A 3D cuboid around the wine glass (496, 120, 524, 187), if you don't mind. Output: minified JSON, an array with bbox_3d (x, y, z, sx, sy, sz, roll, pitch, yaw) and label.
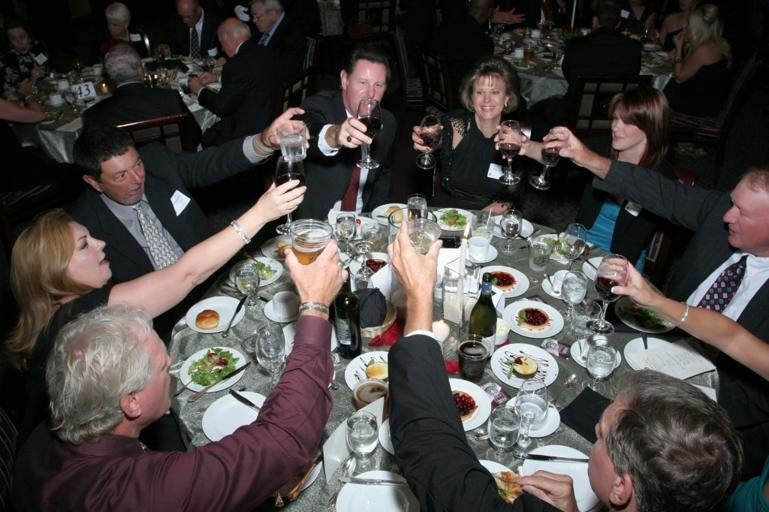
[{"bbox_3d":[0.846,-0.702,3.366,0.215,0.515,0.233,-4,42,13],"label":"wine glass"}]
